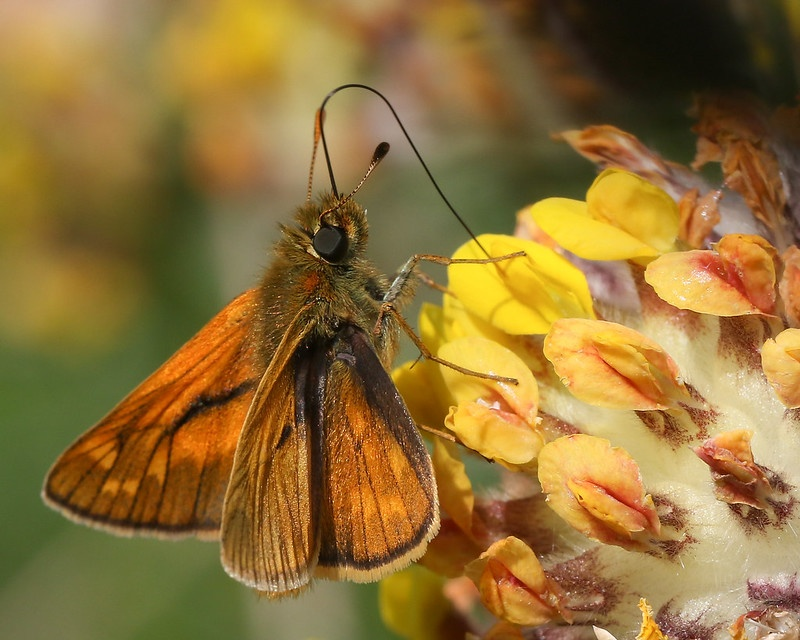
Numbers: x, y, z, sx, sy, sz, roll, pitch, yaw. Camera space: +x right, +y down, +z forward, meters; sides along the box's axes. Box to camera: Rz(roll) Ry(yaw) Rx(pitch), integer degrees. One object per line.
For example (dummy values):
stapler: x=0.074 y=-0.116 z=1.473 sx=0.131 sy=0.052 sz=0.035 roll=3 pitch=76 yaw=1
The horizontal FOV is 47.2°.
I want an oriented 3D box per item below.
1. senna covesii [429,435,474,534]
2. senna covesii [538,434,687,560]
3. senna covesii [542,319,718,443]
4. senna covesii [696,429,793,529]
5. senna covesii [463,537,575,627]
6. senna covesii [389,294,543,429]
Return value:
senna covesii: x=0.087 y=0.263 z=1.470 sx=0.041 sy=0.126 sz=0.089 roll=-17 pitch=-10 yaw=-2
senna covesii: x=0.287 y=0.245 z=1.266 sx=0.132 sy=0.075 sz=0.216 roll=-29 pitch=40 yaw=-24
senna covesii: x=0.333 y=0.093 z=1.361 sx=0.169 sy=0.228 sz=0.070 roll=-62 pitch=19 yaw=-14
senna covesii: x=0.492 y=0.230 z=1.330 sx=0.111 sy=0.143 sz=0.054 roll=-53 pitch=24 yaw=-19
senna covesii: x=0.183 y=0.400 z=1.367 sx=0.078 sy=0.145 sz=0.167 roll=-28 pitch=2 yaw=26
senna covesii: x=0.118 y=0.082 z=1.458 sx=0.100 sy=0.210 sz=0.199 roll=-24 pitch=39 yaw=-36
